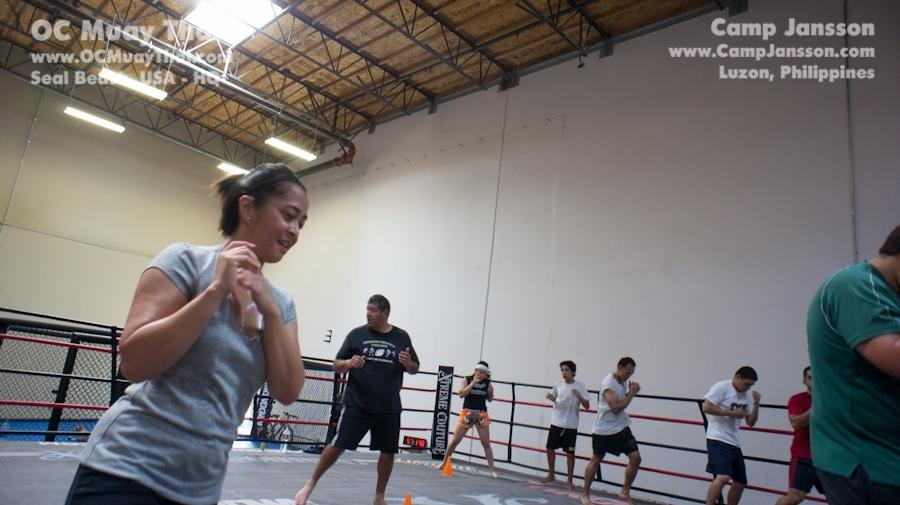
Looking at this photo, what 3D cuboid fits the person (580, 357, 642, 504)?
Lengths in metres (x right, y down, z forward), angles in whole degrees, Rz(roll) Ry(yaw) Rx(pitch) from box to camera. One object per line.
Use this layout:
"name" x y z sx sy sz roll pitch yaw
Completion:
"person" 2.897 3.137 8.922 0.904 2.573 1.057 1 -14 19

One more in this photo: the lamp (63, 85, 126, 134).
"lamp" -12.203 -4.598 17.338 1.832 0.978 2.475 15 -17 -38
